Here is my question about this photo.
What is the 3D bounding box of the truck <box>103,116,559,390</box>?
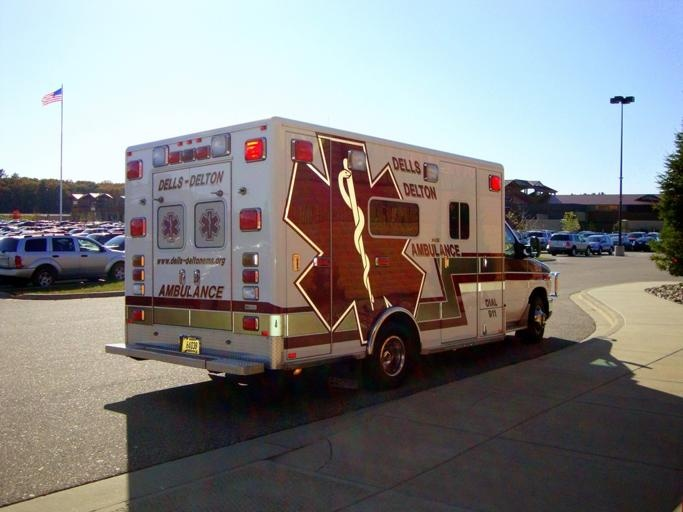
[{"bbox_3d":[-0.005,0.038,7.873,6.042,3.498,2.189,-2,3,-29],"label":"truck"}]
